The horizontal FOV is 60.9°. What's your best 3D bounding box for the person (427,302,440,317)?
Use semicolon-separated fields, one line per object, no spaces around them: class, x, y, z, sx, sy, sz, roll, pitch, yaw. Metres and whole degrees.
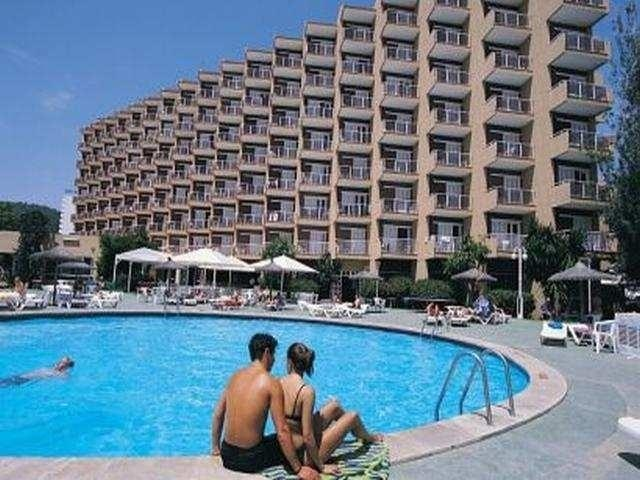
person;5.781;3.540;27.698;0.670;0.986;0.446;2;31;0

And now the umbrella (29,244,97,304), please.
umbrella;-19.753;2.401;41.646;3.126;3.550;3.217;7;-1;-33

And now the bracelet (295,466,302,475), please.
bracelet;-0.428;4.566;10.796;0.117;0.169;0.172;1;-14;-6
